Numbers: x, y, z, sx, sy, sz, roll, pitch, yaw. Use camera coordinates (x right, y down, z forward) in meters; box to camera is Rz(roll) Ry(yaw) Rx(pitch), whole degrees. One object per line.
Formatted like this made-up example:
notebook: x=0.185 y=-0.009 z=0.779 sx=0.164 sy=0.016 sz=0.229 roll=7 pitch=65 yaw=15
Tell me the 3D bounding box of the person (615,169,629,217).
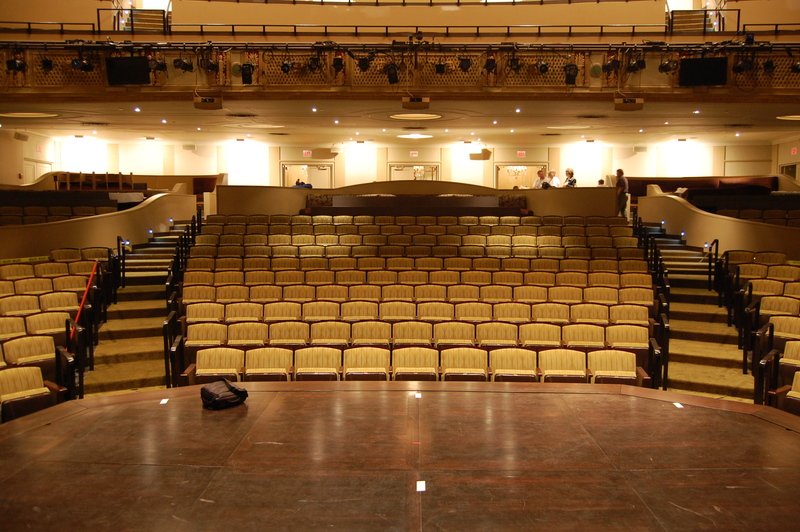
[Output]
person: x=6.835 y=-2.225 z=17.742 sx=0.370 sy=1.437 sz=0.846 roll=3 pitch=11 yaw=19
